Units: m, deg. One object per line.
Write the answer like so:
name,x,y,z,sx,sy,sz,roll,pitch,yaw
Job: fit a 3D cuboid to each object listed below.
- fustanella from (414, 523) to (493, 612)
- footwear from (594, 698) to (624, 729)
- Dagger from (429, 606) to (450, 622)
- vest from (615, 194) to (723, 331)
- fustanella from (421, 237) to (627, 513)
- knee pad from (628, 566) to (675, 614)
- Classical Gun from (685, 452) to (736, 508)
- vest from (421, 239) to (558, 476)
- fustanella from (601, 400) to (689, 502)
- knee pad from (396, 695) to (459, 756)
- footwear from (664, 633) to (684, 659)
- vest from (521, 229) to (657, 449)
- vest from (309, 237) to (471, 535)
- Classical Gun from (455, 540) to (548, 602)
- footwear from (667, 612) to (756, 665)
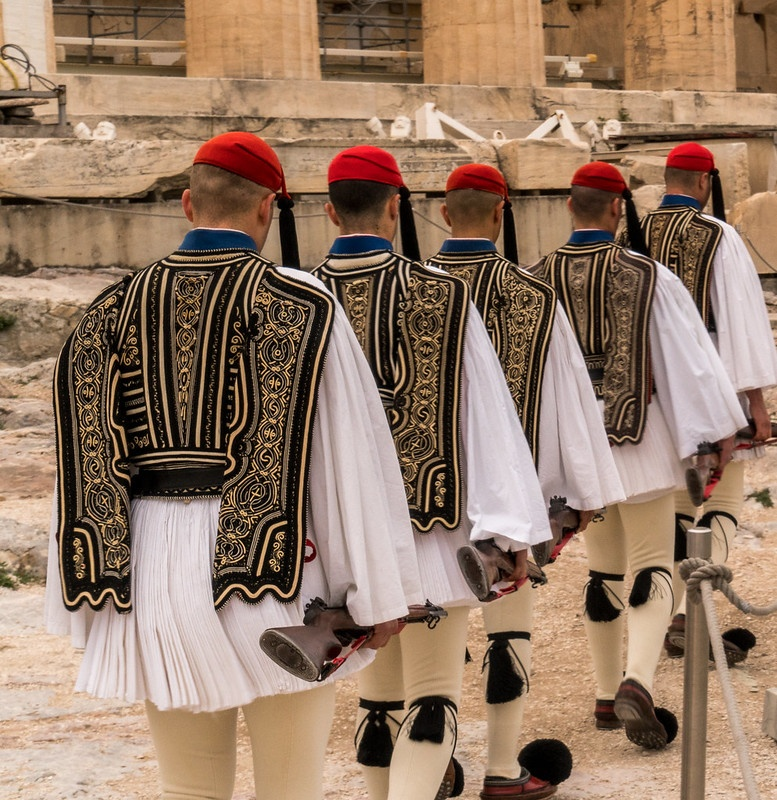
fustanella,0.273,0.795,10.365,0.427,0.341,0.154,-6,-6,14
footwear,1.146,1.684,11.797,0.170,0.152,0.183,0,-5,-2
Dagger,0.238,0.940,9.850,0.096,0.082,0.038,4,49,13
vest,1.634,-0.796,12.505,0.699,0.664,0.348,2,2,34
fustanella,0.764,-0.141,11.049,1.416,1.171,0.408,-6,7,28
knee pad,1.383,1.009,11.670,0.195,0.224,0.232,4,-38,7
Classical Gun,1.719,0.451,11.862,0.157,0.178,0.404,4,-32,14
vest,0.535,-0.260,10.937,0.789,1.049,0.280,-5,5,29
fustanella,1.381,0.270,11.847,0.480,0.520,0.191,-17,-10,17
knee pad,0.181,1.487,10.218,0.279,0.229,0.183,5,42,3
footwear,1.623,1.406,12.623,0.151,0.124,0.038,-6,6,38
vest,1.153,-0.311,11.797,0.982,1.011,0.305,-5,2,29
vest,0.051,-0.088,10.335,1.003,1.258,0.392,-3,-3,19
Classical Gun,0.532,0.785,10.295,0.403,0.182,0.253,-4,-27,-37
footwear,1.739,1.371,12.505,0.753,0.239,0.233,2,-2,-23
